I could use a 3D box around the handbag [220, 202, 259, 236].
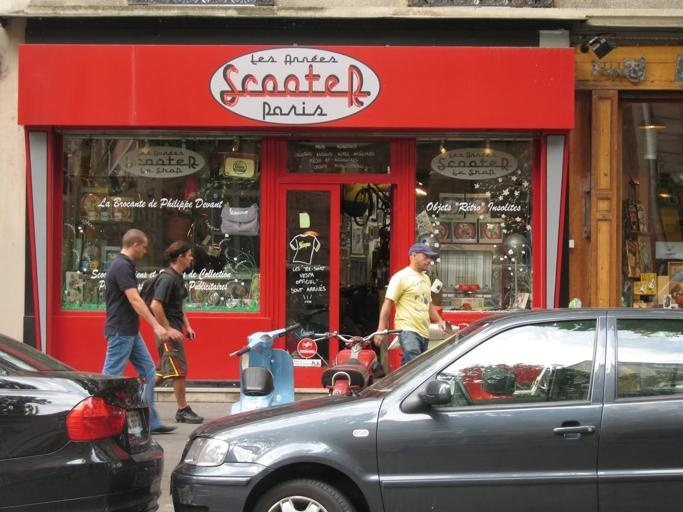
[{"bbox_3d":[-1.420,-0.491,16.047,0.444,0.374,0.193,1,7,4],"label":"handbag"}]

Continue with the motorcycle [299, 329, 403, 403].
[{"bbox_3d":[0.011,1.210,12.524,0.871,0.688,1.258,-1,6,11],"label":"motorcycle"}]

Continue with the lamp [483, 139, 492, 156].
[{"bbox_3d":[2.096,-1.515,16.104,0.123,0.234,0.044,0,-4,10],"label":"lamp"}]

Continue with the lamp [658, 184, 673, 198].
[{"bbox_3d":[4.831,-0.932,16.795,0.170,0.161,0.042,7,-1,-8],"label":"lamp"}]

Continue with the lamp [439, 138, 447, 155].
[{"bbox_3d":[1.453,-1.529,16.145,0.101,0.188,0.048,-2,7,-7],"label":"lamp"}]

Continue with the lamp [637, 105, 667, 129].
[{"bbox_3d":[4.533,-2.007,16.508,0.331,0.370,0.358,-2,1,-28],"label":"lamp"}]

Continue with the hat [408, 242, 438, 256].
[{"bbox_3d":[1.009,-0.052,13.946,0.248,0.131,0.184,2,-4,-1],"label":"hat"}]

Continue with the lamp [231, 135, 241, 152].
[{"bbox_3d":[-1.489,-1.566,16.055,0.130,0.193,0.073,1,-4,-8],"label":"lamp"}]

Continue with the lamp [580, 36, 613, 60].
[{"bbox_3d":[3.590,-2.927,15.889,0.409,0.316,0.106,1,-3,4],"label":"lamp"}]

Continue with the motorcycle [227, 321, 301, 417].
[{"bbox_3d":[-0.847,1.351,12.476,0.781,0.911,1.548,-2,6,5],"label":"motorcycle"}]

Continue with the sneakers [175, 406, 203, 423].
[{"bbox_3d":[-1.928,2.046,14.358,0.332,0.194,0.164,2,0,2],"label":"sneakers"}]

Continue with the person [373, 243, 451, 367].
[{"bbox_3d":[0.905,0.910,13.922,0.765,2.117,0.781,0,-2,39],"label":"person"}]
